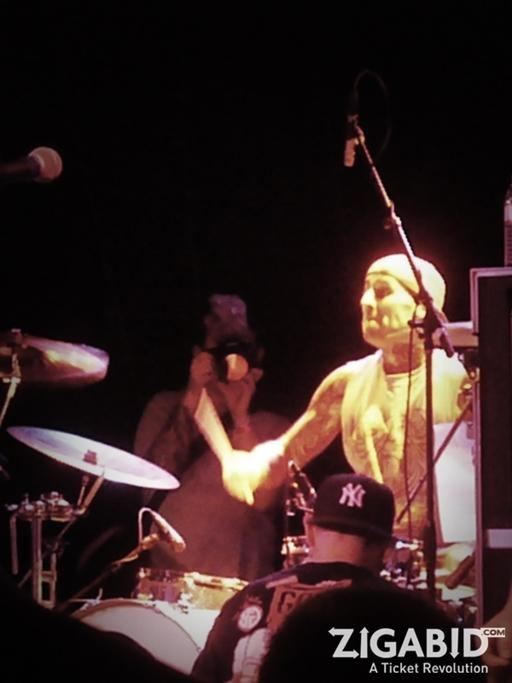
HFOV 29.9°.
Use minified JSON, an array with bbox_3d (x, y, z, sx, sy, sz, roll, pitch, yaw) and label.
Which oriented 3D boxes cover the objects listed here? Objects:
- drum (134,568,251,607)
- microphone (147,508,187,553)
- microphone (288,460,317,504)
[{"bbox_3d":[-0.301,1.058,4.149,0.336,0.112,0.341,7,-10,1],"label":"drum"},{"bbox_3d":[-0.400,0.853,4.316,0.183,0.178,0.438,6,-11,-4],"label":"microphone"},{"bbox_3d":[0.207,0.609,4.235,0.125,0.150,0.060,-3,-29,-42],"label":"microphone"}]
